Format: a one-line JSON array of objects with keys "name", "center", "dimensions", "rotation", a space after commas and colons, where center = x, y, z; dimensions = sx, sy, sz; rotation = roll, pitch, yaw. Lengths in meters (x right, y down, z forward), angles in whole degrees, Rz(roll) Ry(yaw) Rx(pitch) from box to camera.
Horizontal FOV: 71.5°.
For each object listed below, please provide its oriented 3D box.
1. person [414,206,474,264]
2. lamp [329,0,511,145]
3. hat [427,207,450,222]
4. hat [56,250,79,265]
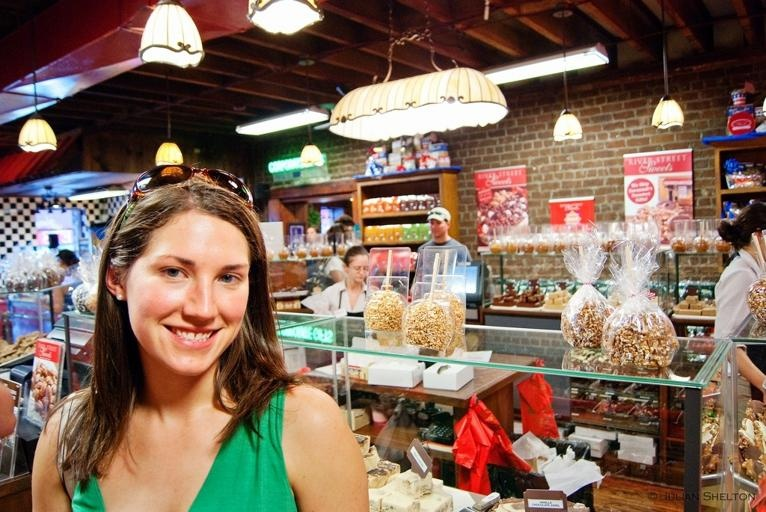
[{"name": "person", "center": [0.663, -0.173, 5.890], "dimensions": [0.722, 0.722, 0.455], "rotation": [4, 5, 36]}, {"name": "lamp", "center": [0.308, -1.715, 4.679], "dimensions": [1.553, 1.364, 0.854], "rotation": [-5, -8, 39]}, {"name": "hat", "center": [0.639, -0.468, 5.834], "dimensions": [0.185, 0.130, 0.254], "rotation": [4, -14, 27]}, {"name": "hat", "center": [-3.836, 0.020, 6.450], "dimensions": [0.212, 0.202, 0.171], "rotation": [0, 12, 42]}]
